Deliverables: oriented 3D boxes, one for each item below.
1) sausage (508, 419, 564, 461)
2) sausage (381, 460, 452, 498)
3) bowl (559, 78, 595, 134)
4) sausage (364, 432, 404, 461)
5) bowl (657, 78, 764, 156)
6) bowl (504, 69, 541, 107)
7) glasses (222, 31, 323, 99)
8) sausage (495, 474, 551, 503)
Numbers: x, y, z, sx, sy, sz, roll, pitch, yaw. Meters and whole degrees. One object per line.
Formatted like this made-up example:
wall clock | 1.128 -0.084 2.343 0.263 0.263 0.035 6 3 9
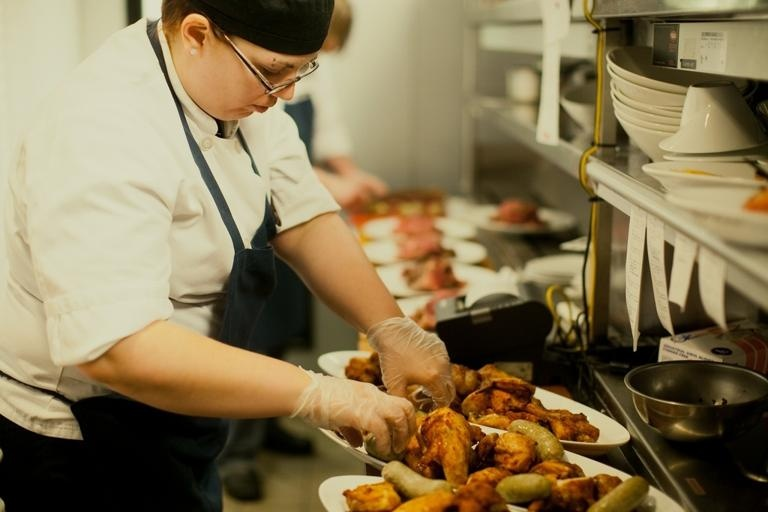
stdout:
sausage | 0.396 0.470 1.681 0.073 0.056 0.150 -1 11 -8
sausage | 0.063 0.520 1.584 0.196 0.058 0.062 7 28 44
bowl | 0.754 -0.583 2.534 0.193 0.142 0.200 -4 32 3
sausage | -0.006 0.521 1.814 0.086 0.087 0.032 31 68 11
bowl | 0.828 -0.337 1.594 0.320 0.136 0.168 -22 32 -25
bowl | 0.699 -0.833 3.263 0.197 0.191 0.074 16 4 43
glasses | -0.327 -0.486 1.739 0.041 0.156 0.153 -38 -1 22
sausage | 0.312 0.526 1.482 0.122 0.063 0.048 2 29 15
